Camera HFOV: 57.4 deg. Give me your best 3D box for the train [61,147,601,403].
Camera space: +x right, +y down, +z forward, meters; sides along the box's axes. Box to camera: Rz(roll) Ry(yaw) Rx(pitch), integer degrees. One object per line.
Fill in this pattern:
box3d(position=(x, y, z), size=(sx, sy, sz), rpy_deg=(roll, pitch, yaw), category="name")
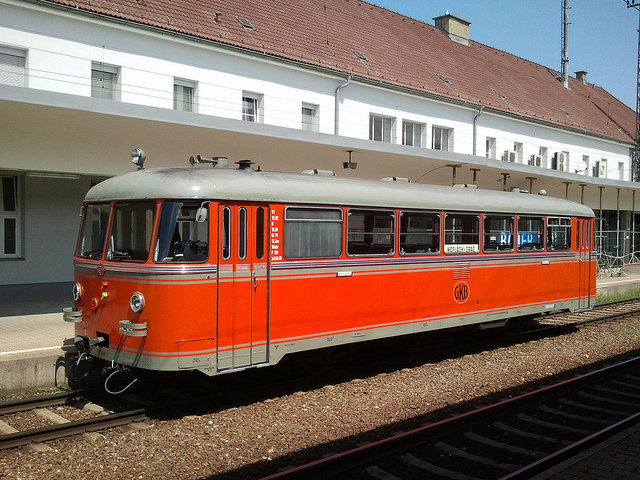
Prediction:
box3d(position=(1.722, 0.311, 14.729), size=(14.865, 4.051, 3.480), rpy_deg=(-1, -1, -38), category="train")
